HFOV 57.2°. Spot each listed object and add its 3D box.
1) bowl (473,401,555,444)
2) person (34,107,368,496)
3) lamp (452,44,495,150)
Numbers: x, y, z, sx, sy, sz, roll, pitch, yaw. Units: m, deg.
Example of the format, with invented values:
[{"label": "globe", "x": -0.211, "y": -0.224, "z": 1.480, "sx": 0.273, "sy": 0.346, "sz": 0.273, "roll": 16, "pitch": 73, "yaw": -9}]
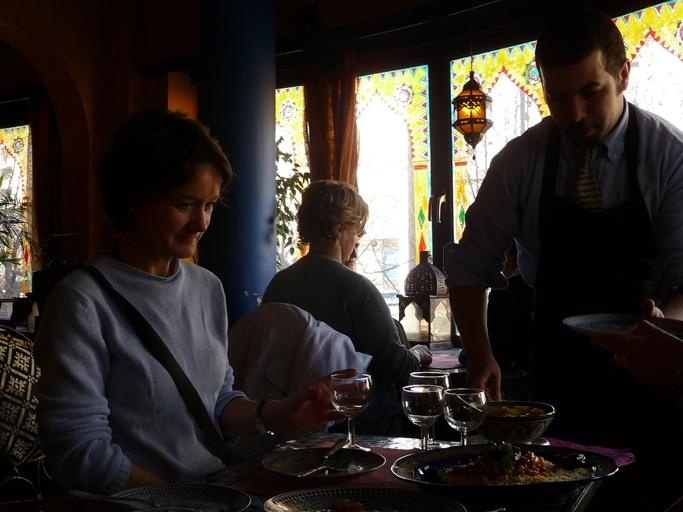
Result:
[{"label": "bowl", "x": 0.446, "y": 0.443, "z": 1.671, "sx": 0.221, "sy": 0.081, "sz": 0.228, "roll": -3, "pitch": -1, "yaw": 0}, {"label": "person", "x": -0.521, "y": 0.111, "z": 2.206, "sx": 0.895, "sy": 1.370, "sz": 1.000, "roll": -6, "pitch": -7, "yaw": 21}, {"label": "lamp", "x": 0.829, "y": -0.990, "z": 3.997, "sx": 0.223, "sy": 0.526, "sz": 0.206, "roll": -1, "pitch": -2, "yaw": 33}]
